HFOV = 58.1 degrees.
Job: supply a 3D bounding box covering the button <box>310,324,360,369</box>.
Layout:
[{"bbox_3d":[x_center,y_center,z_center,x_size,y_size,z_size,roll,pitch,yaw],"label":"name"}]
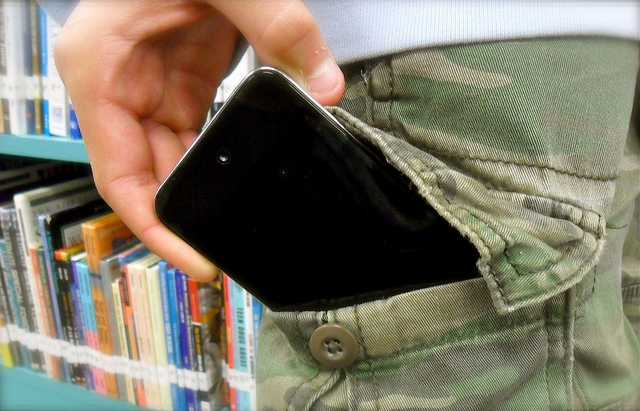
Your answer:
[{"bbox_3d":[0.016,0.170,0.691,0.060,0.066,0.008,-8,22,16],"label":"button"}]
